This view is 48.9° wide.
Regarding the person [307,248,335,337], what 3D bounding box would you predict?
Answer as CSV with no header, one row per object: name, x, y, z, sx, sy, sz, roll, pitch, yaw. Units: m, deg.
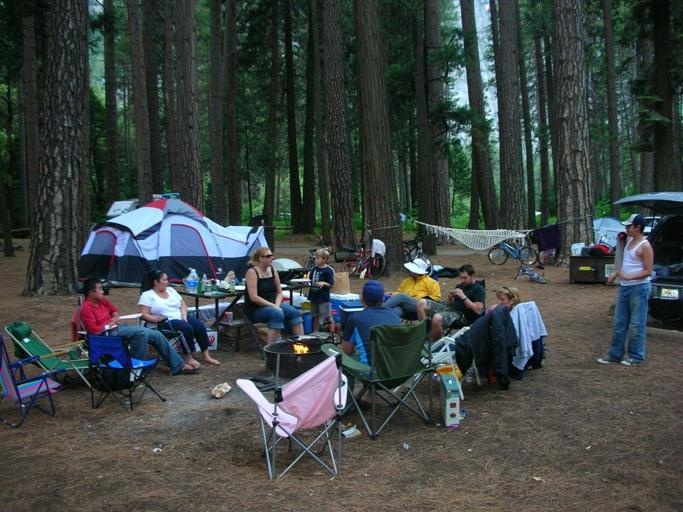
person,-0.341,0.597,13.231,0.457,1.399,0.414,9,12,28

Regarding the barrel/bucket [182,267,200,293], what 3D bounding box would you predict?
barrel/bucket,-2.632,0.420,13.220,0.407,0.601,0.421,2,-2,0

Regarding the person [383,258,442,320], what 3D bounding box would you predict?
person,1.120,0.566,12.744,0.797,1.103,0.844,-11,17,-44

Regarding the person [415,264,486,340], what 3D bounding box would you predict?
person,1.788,0.769,12.082,0.965,1.295,0.872,8,14,37

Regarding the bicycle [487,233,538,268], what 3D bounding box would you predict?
bicycle,5.164,-0.256,22.760,1.373,0.905,2.859,-1,5,12

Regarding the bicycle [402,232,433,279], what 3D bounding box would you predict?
bicycle,1.928,-0.122,19.614,0.707,0.911,1.451,-8,6,-23

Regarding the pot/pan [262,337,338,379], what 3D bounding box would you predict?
pot/pan,-0.638,1.559,11.223,0.969,0.604,0.966,0,10,-16

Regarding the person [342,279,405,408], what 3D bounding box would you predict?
person,0.385,0.954,10.469,0.919,1.107,0.879,-3,3,-35

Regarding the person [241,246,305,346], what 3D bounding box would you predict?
person,-1.126,0.655,12.283,0.873,1.626,0.829,2,11,-4

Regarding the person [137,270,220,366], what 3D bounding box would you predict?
person,-2.472,1.035,12.039,1.144,1.583,1.053,24,19,35
